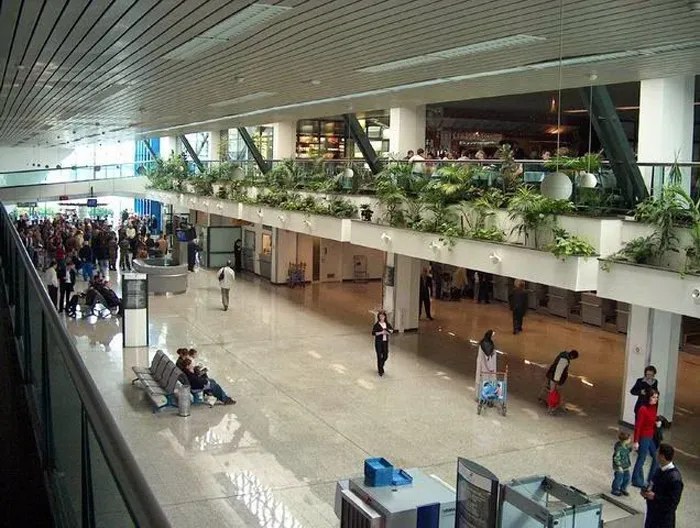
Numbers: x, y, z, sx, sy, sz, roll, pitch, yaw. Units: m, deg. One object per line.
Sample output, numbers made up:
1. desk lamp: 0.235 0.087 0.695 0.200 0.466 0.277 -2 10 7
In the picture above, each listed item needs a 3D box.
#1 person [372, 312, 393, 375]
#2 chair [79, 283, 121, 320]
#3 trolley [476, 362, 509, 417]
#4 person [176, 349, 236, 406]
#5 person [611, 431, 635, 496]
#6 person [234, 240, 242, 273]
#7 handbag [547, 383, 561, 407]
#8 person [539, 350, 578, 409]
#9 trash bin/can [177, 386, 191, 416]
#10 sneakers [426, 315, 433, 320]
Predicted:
1. person: 0.900 2.167 14.800 0.487 1.792 0.982 2 8 5
2. chair: -9.421 1.368 19.992 1.608 0.809 1.649 2 3 -9
3. trolley: 3.437 3.026 12.539 0.944 1.050 0.965 9 -9 -32
4. person: -3.433 2.669 12.239 1.190 1.229 0.811 -1 8 -20
5. person: 4.660 3.379 8.924 0.281 1.269 0.791 6 9 29
6. person: -6.606 -0.585 30.942 0.457 1.891 0.915 0 8 -14
7. handbag: 4.777 3.127 12.265 0.237 0.672 0.490 5 8 22
8. person: 5.112 2.694 12.916 0.703 1.591 2.036 4 8 21
9. trash bin/can: -3.671 3.030 11.572 0.255 0.625 0.406 -1 8 -19
10. sneakers: 3.218 2.141 20.928 0.285 0.243 0.109 -8 13 -26
